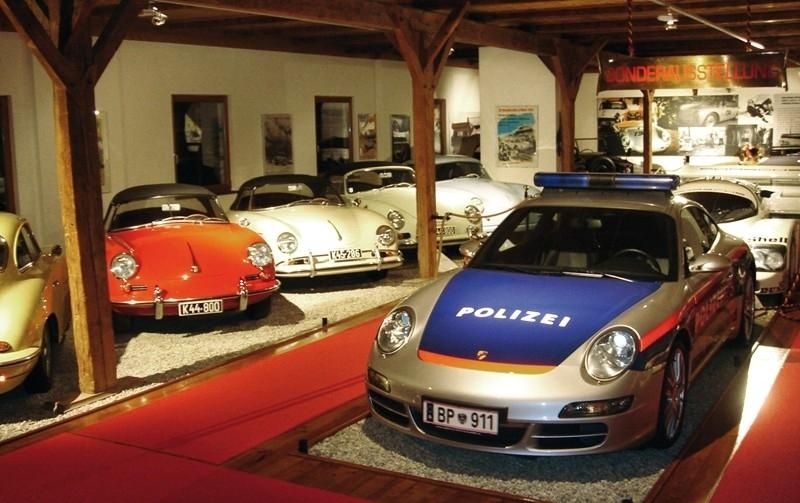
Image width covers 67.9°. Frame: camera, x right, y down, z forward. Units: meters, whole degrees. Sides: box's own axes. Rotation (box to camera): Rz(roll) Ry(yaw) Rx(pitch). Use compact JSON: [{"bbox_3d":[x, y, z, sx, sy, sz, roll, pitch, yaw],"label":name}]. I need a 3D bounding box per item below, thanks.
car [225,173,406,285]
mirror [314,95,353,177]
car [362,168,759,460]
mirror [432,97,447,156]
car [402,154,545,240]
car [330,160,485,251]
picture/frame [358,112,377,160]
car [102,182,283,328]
[{"bbox_3d":[-1.331,-0.356,9.488,1.665,0.975,2.772,-7,14,-30],"label":"car"},{"bbox_3d":[-1.776,-3.203,16.281,0.332,2.032,1.437,6,15,32],"label":"mirror"},{"bbox_3d":[2.028,0.215,6.039,2.448,1.719,5.211,2,12,39],"label":"car"},{"bbox_3d":[1.339,-4.114,19.455,0.223,1.767,0.641,5,15,27],"label":"mirror"},{"bbox_3d":[1.374,-1.138,11.778,1.671,1.102,2.757,-9,12,-35],"label":"car"},{"bbox_3d":[-0.016,-0.887,11.399,1.632,1.083,2.723,-13,18,-40],"label":"car"},{"bbox_3d":[-0.932,-3.340,17.114,0.227,1.282,0.852,5,15,27],"label":"picture/frame"},{"bbox_3d":[-3.418,-0.257,8.642,2.270,1.442,3.891,-8,23,-36],"label":"car"}]
